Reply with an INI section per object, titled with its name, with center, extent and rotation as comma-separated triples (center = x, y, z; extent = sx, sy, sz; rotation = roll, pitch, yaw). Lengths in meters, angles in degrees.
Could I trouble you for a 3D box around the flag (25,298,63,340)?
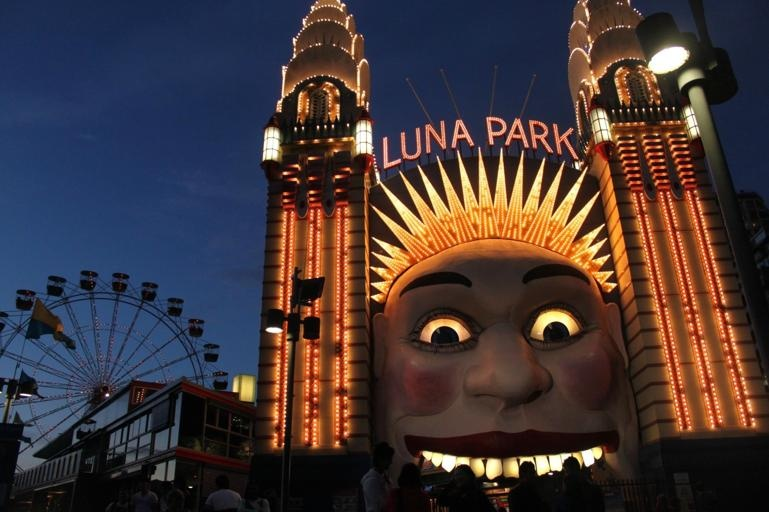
[flag]
center = -16.719, 2.934, 34.773
extent = 1.342, 2.116, 2.143
rotation = 11, -30, -26
